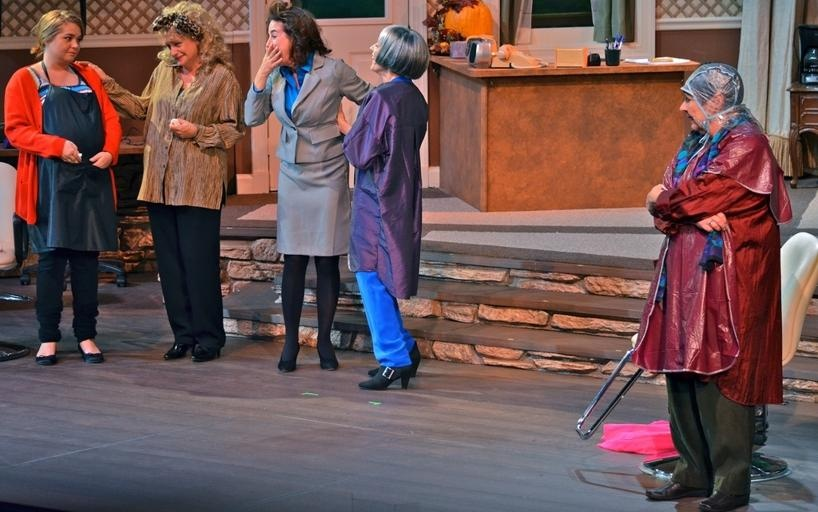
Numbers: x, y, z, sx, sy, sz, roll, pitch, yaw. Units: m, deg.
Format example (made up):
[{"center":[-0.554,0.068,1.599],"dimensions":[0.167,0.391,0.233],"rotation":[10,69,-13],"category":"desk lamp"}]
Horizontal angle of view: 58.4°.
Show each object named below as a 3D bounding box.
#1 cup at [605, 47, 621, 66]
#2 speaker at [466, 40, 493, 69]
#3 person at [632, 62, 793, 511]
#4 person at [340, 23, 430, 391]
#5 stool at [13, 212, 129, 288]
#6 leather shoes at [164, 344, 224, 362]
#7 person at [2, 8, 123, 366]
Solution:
[{"center":[1.660,-1.622,5.949],"dimensions":[0.139,0.106,0.120],"rotation":[3,12,22],"category":"cup"},{"center":[0.588,-1.658,5.976],"dimensions":[0.169,0.230,0.268],"rotation":[-2,14,-11],"category":"speaker"},{"center":[1.255,0.125,2.998],"dimensions":[0.593,1.776,0.464],"rotation":[6,15,22],"category":"person"},{"center":[-0.131,-0.252,4.059],"dimensions":[0.448,1.965,0.339],"rotation":[0,14,1],"category":"person"},{"center":[-2.905,-0.046,6.591],"dimensions":[0.878,0.861,0.831],"rotation":[1,-4,-6],"category":"stool"},{"center":[-1.364,0.575,4.573],"dimensions":[0.375,0.129,0.124],"rotation":[7,1,-22],"category":"leather shoes"},{"center":[-2.065,-0.412,4.431],"dimensions":[0.639,2.056,0.464],"rotation":[-5,15,-20],"category":"person"}]
